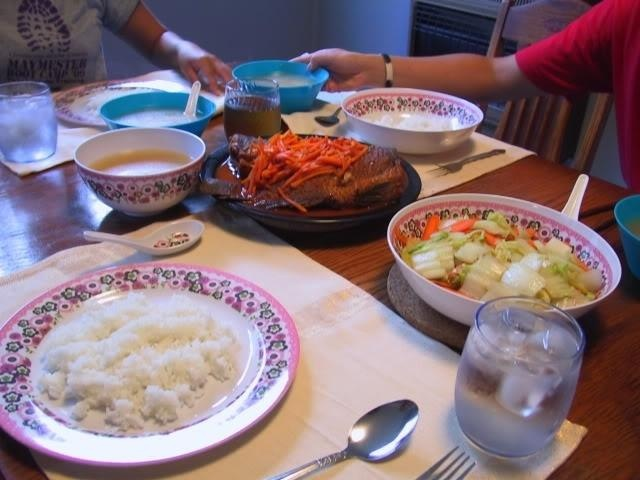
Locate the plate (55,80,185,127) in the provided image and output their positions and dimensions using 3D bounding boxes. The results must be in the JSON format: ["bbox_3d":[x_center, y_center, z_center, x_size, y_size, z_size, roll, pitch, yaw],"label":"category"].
[{"bbox_3d":[-0.897,-0.588,2.060,0.343,0.052,0.367,3,32,-1],"label":"plate"}]

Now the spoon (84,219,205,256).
[{"bbox_3d":[-0.454,-0.001,1.285,0.222,0.051,0.139,-1,27,-20],"label":"spoon"}]

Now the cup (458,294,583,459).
[{"bbox_3d":[0.356,0.257,0.892,0.194,0.244,0.176,2,36,-1],"label":"cup"}]

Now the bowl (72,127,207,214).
[{"bbox_3d":[-0.517,-0.217,1.422,0.302,0.156,0.308,3,34,-2],"label":"bowl"}]

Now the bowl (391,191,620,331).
[{"bbox_3d":[0.509,0.022,1.186,0.368,0.127,0.407,-3,35,-6],"label":"bowl"}]

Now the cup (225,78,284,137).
[{"bbox_3d":[-0.225,-0.463,1.766,0.200,0.217,0.213,1,22,0],"label":"cup"}]

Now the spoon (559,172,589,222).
[{"bbox_3d":[0.704,-0.117,1.337,0.062,0.042,0.234,26,48,5],"label":"spoon"}]
